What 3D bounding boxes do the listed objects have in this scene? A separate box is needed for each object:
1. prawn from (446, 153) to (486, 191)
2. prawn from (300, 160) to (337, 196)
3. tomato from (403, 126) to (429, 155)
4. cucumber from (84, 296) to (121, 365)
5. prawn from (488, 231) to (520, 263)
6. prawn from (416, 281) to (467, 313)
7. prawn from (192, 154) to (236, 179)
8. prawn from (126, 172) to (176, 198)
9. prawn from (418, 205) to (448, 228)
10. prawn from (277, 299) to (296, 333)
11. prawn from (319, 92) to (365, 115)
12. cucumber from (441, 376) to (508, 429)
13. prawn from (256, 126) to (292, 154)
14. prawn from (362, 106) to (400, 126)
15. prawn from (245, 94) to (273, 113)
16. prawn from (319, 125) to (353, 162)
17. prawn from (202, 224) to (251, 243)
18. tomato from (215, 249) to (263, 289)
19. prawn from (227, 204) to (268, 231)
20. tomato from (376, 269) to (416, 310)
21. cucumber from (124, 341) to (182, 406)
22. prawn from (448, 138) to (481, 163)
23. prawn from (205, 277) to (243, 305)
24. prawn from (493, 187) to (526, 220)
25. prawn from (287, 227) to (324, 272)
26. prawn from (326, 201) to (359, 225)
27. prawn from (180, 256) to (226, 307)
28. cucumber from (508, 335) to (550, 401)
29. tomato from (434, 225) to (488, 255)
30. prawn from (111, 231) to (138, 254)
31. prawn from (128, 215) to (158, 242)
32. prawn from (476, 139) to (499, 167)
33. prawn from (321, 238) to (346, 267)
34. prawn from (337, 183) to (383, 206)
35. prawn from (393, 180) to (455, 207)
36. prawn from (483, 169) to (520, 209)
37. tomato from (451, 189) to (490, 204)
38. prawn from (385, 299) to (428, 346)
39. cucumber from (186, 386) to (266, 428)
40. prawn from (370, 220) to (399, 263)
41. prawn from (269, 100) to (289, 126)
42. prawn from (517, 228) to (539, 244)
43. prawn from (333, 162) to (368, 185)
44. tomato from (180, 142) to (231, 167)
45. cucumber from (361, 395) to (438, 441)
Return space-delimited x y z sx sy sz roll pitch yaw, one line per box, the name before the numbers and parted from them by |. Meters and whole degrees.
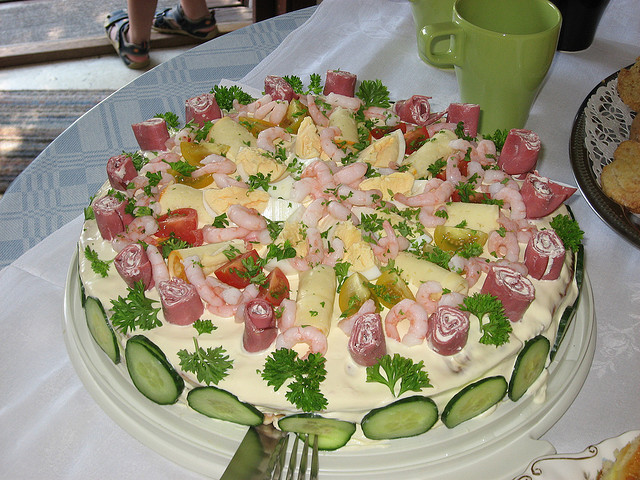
prawn | 0.568 -0.253 2.026 0.191 0.181 0.066 -13 74 10
prawn | -0.008 -0.227 1.995 0.054 0.159 0.124 -34 66 -24
tomato | 0.384 -0.415 2.147 0.097 0.100 0.029 -36 28 -3
cucumber | -0.720 0.289 1.741 0.194 0.230 0.060 -9 8 42
prawn | 0.649 0.003 1.838 0.106 0.040 0.121 10 17 10
prawn | 0.362 0.168 1.611 0.116 0.047 0.101 8 78 17
prawn | -0.405 -0.289 2.003 0.107 0.032 0.101 -2 41 6
prawn | -0.628 -0.208 1.944 0.177 0.058 0.094 -14 60 -9
prawn | 0.390 -0.083 1.866 0.081 0.030 0.090 7 48 8
prawn | -0.105 0.233 1.632 0.060 0.030 0.084 -22 52 30
prawn | 0.092 -0.597 2.289 0.118 0.035 0.129 11 57 13
cucumber | 0.463 0.485 1.591 0.239 0.147 0.074 -26 61 -15
prawn | -0.182 -0.409 2.093 0.109 0.033 0.112 -18 50 -30
prawn | 0.261 -0.550 2.291 0.121 0.095 0.041 35 98 29
prawn | -0.269 -0.596 2.292 0.139 0.044 0.042 -39 51 -5
prawn | 0.046 -0.378 2.078 0.040 0.127 0.134 -20 61 28
prawn | -0.334 -0.022 1.809 0.117 0.045 0.074 -2 31 7
tomato | -0.267 0.099 1.734 0.141 0.084 0.109 -27 40 -32
prawn | -0.252 -0.080 1.804 0.109 0.045 0.088 3 31 -50
tomato | 0.230 0.158 1.687 0.095 0.037 0.127 -21 67 -2
cucumber | -0.518 0.417 1.618 0.208 0.174 0.100 34 63 18
prawn | 0.562 -0.363 2.097 0.094 0.028 0.106 1 98 0
prawn | -0.307 0.160 1.676 0.126 0.047 0.064 36 48 23
prawn | 0.697 -0.140 1.909 0.077 0.044 0.135 -21 62 -13
prawn | -0.053 0.031 1.757 0.103 0.047 0.165 29 70 1
prawn | 0.084 -0.096 1.892 0.126 0.049 0.059 40 89 8
prawn | -0.372 0.126 1.698 0.182 0.125 0.155 -2 38 -13
cucumber | 0.654 0.403 1.671 0.047 0.209 0.221 18 51 38
tomato | 0.477 -0.004 1.813 0.127 0.099 0.054 1 34 15
prawn | -0.678 0.000 1.809 0.063 0.024 0.073 24 52 15
prawn | -0.618 -0.035 1.846 0.077 0.037 0.094 40 63 14
prawn | 0.659 -0.345 2.073 0.077 0.039 0.106 -9 85 -8
prawn | 0.040 0.043 1.760 0.055 0.027 0.097 25 79 17
prawn | 0.139 -0.167 1.911 0.162 0.046 0.084 18 60 9
prawn | 0.387 -0.162 1.922 0.234 0.043 0.083 -11 60 -8
prawn | 0.677 -0.184 2.024 0.125 0.050 0.140 17 63 27
tomato | 0.558 -0.161 1.953 0.146 0.030 0.056 1 59 0
prawn | 0.267 0.255 1.617 0.132 0.063 0.123 32 64 17
cucumber | -0.289 0.488 1.550 0.241 0.131 0.034 18 43 7
prawn | 0.215 0.008 1.768 0.091 0.029 0.114 -31 65 28
prawn | -0.174 -0.538 2.214 0.050 0.036 0.110 19 71 16
prawn | 0.732 -0.020 1.860 0.090 0.028 0.061 -4 59 -3
prawn | 0.111 -0.245 1.983 0.127 0.044 0.066 -31 94 4
tomato | -0.458 -0.351 2.058 0.144 0.031 0.104 -20 66 -19
cucumber | 0.225 0.511 1.525 0.215 0.122 0.055 -7 22 5
